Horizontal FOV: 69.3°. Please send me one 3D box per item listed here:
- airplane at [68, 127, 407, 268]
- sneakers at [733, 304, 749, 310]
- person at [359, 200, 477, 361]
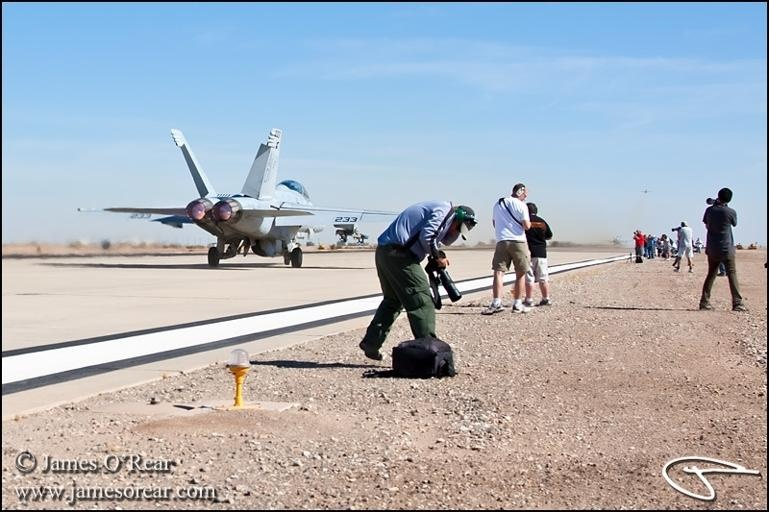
[{"bbox_3d":[-7.049,-2.041,27.737,9.798,3.641,10.330,2,3,21],"label":"airplane"},{"bbox_3d":[6.973,1.027,11.001,0.261,0.155,0.208,8,11,29],"label":"sneakers"},{"bbox_3d":[0.362,0.378,6.998,0.970,2.155,0.801,9,13,27],"label":"person"}]
